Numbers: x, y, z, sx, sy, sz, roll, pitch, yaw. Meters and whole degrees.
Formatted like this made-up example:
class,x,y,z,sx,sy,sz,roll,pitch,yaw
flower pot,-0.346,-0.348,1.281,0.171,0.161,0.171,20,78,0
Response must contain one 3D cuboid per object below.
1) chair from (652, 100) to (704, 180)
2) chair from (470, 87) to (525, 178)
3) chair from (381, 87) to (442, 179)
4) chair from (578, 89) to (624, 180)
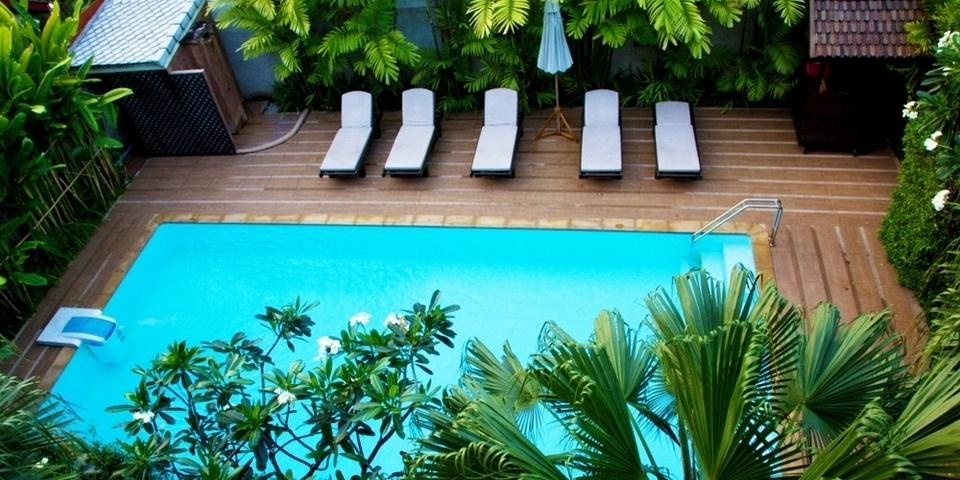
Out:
class,x,y,z,sx,sy,sz,roll,pitch,yaw
chair,4.417,-2.254,12.796,0.949,0.450,1.916,1,52,5
chair,0.391,-2.449,13.348,1.075,1.038,2.242,5,65,12
chair,-1.560,-2.503,13.491,1.030,1.201,2.413,5,55,8
chair,2.765,-2.462,12.853,1.095,0.700,2.237,1,56,9
